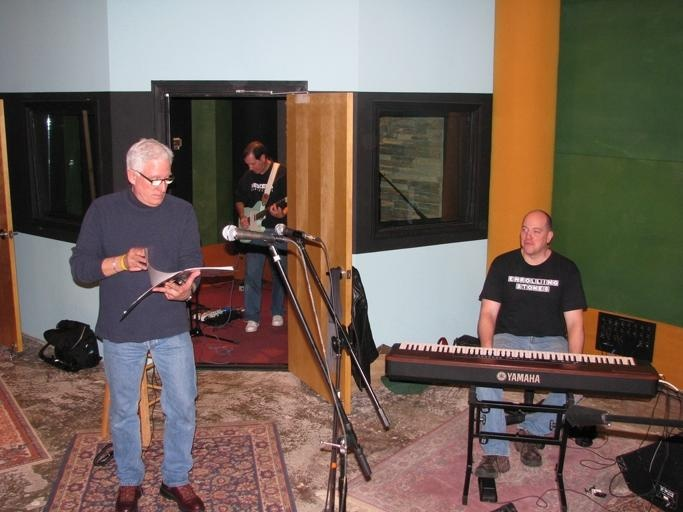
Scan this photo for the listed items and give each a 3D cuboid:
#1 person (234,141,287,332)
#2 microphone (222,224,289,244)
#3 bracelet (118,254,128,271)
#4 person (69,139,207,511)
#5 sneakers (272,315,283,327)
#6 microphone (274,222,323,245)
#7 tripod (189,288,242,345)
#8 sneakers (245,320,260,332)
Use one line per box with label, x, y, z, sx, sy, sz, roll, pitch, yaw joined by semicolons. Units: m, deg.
person;-0.892;-0.205;7.050;0.700;2.326;0.604;0;26;-5
microphone;-0.452;-0.119;3.247;0.308;0.110;0.217;-2;14;-9
bracelet;-1.287;0.040;3.665;0.055;0.108;0.111;-6;15;-24
person;-1.225;0.462;3.936;0.790;2.350;0.602;1;13;2
sneakers;-0.713;0.721;6.970;0.115;0.094;0.233;0;-1;-1
microphone;-0.262;-0.154;4.135;0.411;0.124;0.114;15;29;27
tripod;-1.487;0.658;6.935;0.436;0.185;0.601;9;16;26
sneakers;-0.974;0.767;6.818;0.099;0.092;0.232;0;-5;1
